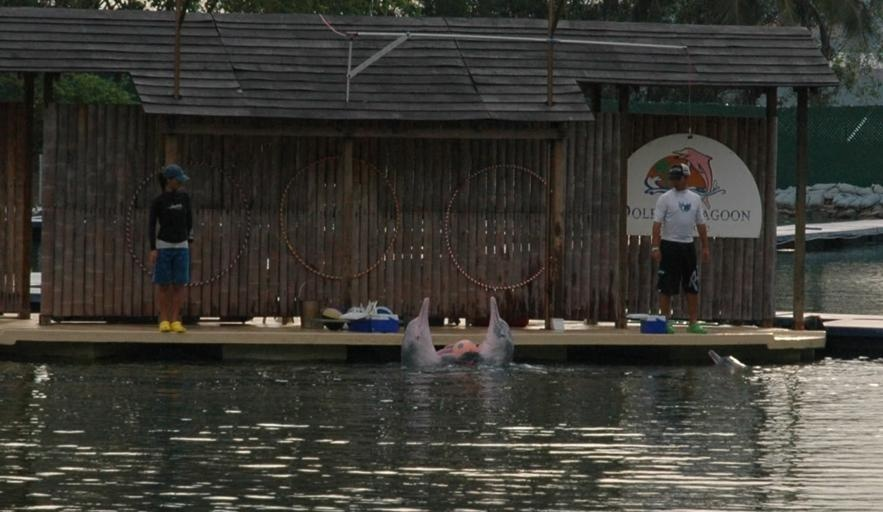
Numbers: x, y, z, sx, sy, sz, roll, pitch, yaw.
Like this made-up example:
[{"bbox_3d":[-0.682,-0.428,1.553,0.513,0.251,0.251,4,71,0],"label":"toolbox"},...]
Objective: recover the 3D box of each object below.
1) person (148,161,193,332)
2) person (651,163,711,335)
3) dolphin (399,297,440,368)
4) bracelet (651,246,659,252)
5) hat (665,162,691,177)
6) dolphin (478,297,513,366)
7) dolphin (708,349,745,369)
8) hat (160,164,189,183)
[{"bbox_3d":[-5.632,-0.131,49.323,0.866,3.505,0.474,-1,-3,-6],"label":"person"},{"bbox_3d":[5.073,-0.142,49.764,1.118,3.552,0.488,-1,-3,6],"label":"person"},{"bbox_3d":[-0.393,1.627,48.859,0.614,1.447,0.643,2,-5,-44],"label":"dolphin"},{"bbox_3d":[4.554,-0.130,49.687,0.148,0.156,0.213,-1,-3,5],"label":"bracelet"},{"bbox_3d":[5.100,-1.826,50.052,0.440,0.368,0.873,-1,-3,6],"label":"hat"},{"bbox_3d":[1.176,1.591,48.993,0.697,1.395,0.330,-1,-3,2],"label":"dolphin"},{"bbox_3d":[6.014,2.185,49.377,0.437,0.396,0.876,2,-4,-42],"label":"dolphin"},{"bbox_3d":[-5.556,-1.749,49.527,0.542,0.417,0.579,-1,-3,-6],"label":"hat"}]
